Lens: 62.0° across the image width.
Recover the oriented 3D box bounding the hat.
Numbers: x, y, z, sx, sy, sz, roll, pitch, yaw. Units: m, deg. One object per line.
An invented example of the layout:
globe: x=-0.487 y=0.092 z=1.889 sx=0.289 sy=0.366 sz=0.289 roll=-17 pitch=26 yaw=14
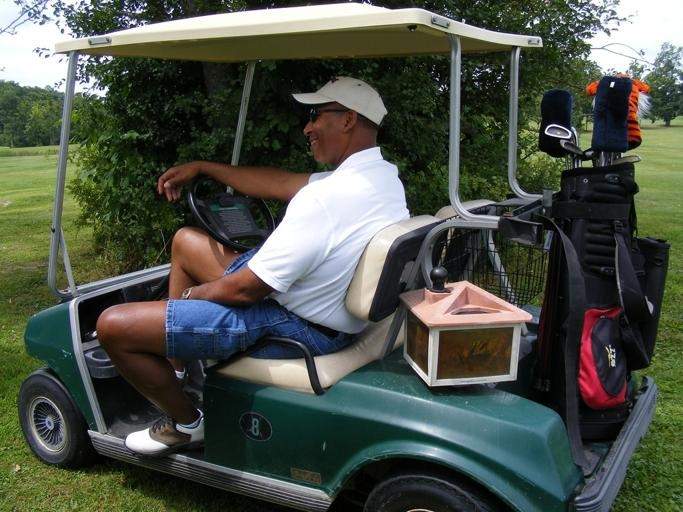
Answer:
hat: x=0.014 y=-0.707 z=2.538 sx=0.329 sy=0.170 sz=0.211 roll=25 pitch=9 yaw=-1

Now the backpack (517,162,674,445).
backpack: x=1.119 y=0.206 z=2.533 sx=0.818 sy=1.221 sz=0.370 roll=-7 pitch=10 yaw=-42

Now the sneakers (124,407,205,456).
sneakers: x=-0.791 y=0.827 z=2.661 sx=0.382 sy=0.197 sz=0.178 roll=-3 pitch=13 yaw=-8

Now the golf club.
golf club: x=1.130 y=-0.494 z=2.630 sx=0.274 sy=0.131 sz=0.290 roll=3 pitch=4 yaw=23
